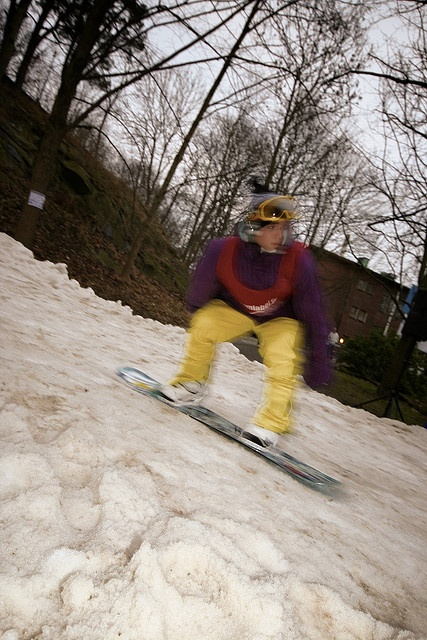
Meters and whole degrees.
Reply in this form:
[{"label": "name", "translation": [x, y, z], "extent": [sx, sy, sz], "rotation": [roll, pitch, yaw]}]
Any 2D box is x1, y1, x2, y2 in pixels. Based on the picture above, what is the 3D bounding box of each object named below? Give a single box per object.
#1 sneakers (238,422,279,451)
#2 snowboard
[{"label": "sneakers", "translation": [0.265, 0.689, 2.587], "extent": [0.176, 0.132, 0.059], "rotation": [26, 40, 6]}, {"label": "snowboard", "translation": [0.097, 0.672, 2.830], "extent": [1.876, 0.085, 0.279], "rotation": [27, 18, 33]}]
